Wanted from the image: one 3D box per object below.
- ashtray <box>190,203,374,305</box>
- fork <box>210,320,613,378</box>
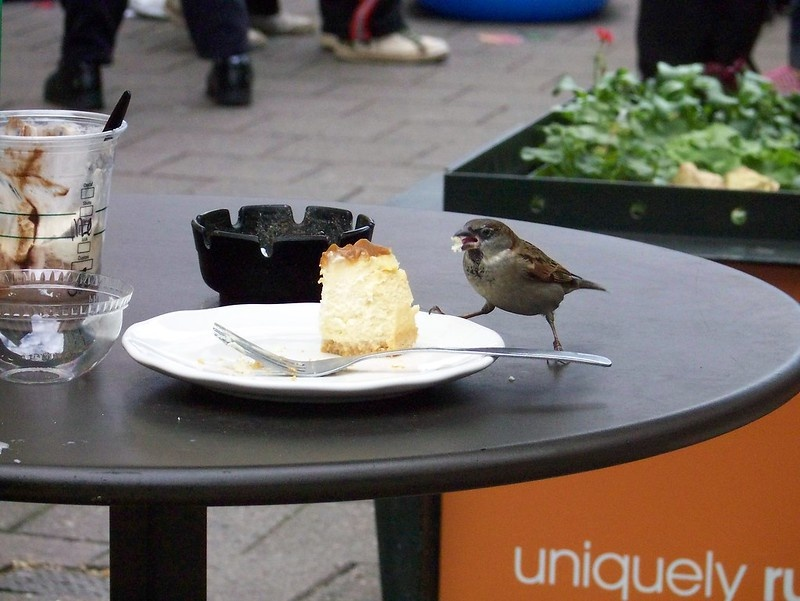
[{"bbox_3d":[-0.181,-0.084,1.496,0.244,0.143,0.224,-12,17,-13],"label":"ashtray"},{"bbox_3d":[0.013,0.063,1.240,0.444,0.043,0.048,3,8,-5],"label":"fork"}]
